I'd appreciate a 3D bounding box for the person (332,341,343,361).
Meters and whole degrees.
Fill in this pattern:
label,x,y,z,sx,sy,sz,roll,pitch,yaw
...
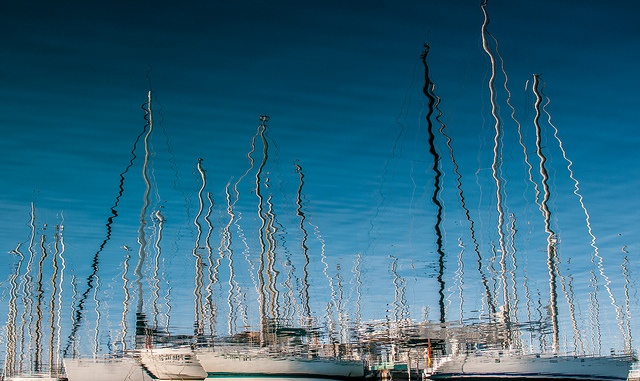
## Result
label,x,y,z,sx,sy,sz,roll,pitch,yaw
person,1.042,10.238,71.877,0.458,1.099,0.849,-12,-20,23
